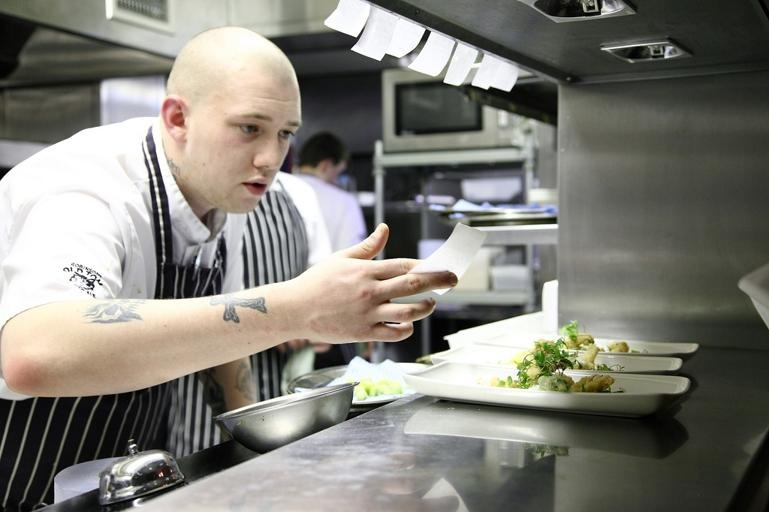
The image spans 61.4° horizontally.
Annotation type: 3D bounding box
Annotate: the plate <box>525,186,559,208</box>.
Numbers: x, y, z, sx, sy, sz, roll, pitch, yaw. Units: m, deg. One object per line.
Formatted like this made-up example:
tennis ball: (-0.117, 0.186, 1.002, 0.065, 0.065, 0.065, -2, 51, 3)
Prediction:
plate: (0.650, -0.250, 2.645, 0.122, 0.072, 0.116, 1, -4, 8)

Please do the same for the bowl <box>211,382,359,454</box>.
bowl: (-0.161, 0.321, 1.297, 0.236, 0.073, 0.234, -14, -7, -2)
